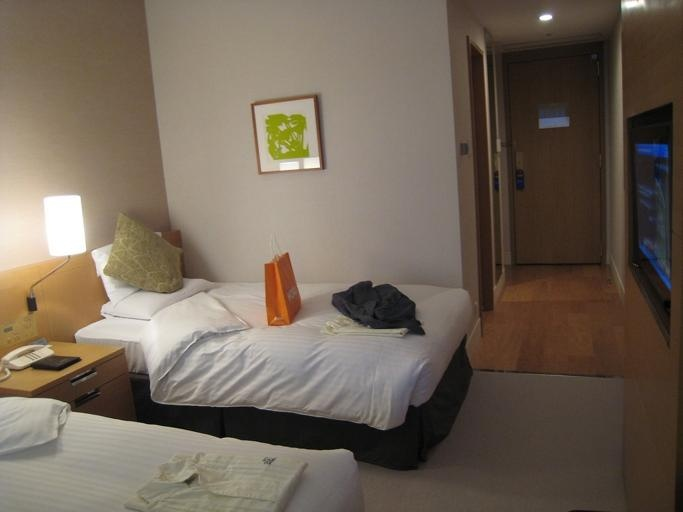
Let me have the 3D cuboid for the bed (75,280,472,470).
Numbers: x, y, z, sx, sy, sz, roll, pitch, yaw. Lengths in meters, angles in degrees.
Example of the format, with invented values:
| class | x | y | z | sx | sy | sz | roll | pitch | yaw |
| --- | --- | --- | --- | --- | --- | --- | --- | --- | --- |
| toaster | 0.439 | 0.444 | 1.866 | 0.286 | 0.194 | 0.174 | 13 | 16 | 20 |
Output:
| class | x | y | z | sx | sy | sz | roll | pitch | yaw |
| --- | --- | --- | --- | --- | --- | --- | --- | --- | --- |
| bed | -0.280 | 0.703 | 3.150 | 1.801 | 0.640 | 1.397 | 1 | 16 | 12 |

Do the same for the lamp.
| class | x | y | z | sx | sy | sz | roll | pitch | yaw |
| --- | --- | --- | --- | --- | --- | --- | --- | --- | --- |
| lamp | -1.957 | -0.001 | 3.367 | 0.416 | 0.721 | 0.222 | -11 | 14 | -35 |

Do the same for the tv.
| class | x | y | z | sx | sy | sz | roll | pitch | yaw |
| --- | --- | --- | --- | --- | --- | --- | --- | --- | --- |
| tv | 1.271 | -0.190 | 2.015 | 0.092 | 0.556 | 0.736 | 1 | 11 | 20 |

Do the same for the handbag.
| class | x | y | z | sx | sy | sz | roll | pitch | yaw |
| --- | --- | --- | --- | --- | --- | --- | --- | --- | --- |
| handbag | -0.433 | 0.175 | 3.644 | 0.146 | 0.573 | 0.489 | -9 | 14 | 3 |

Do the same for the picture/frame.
| class | x | y | z | sx | sy | sz | roll | pitch | yaw |
| --- | --- | --- | --- | --- | --- | --- | --- | --- | --- |
| picture/frame | -0.455 | -1.068 | 4.280 | 0.609 | 0.680 | 0.073 | 0 | 16 | 20 |
